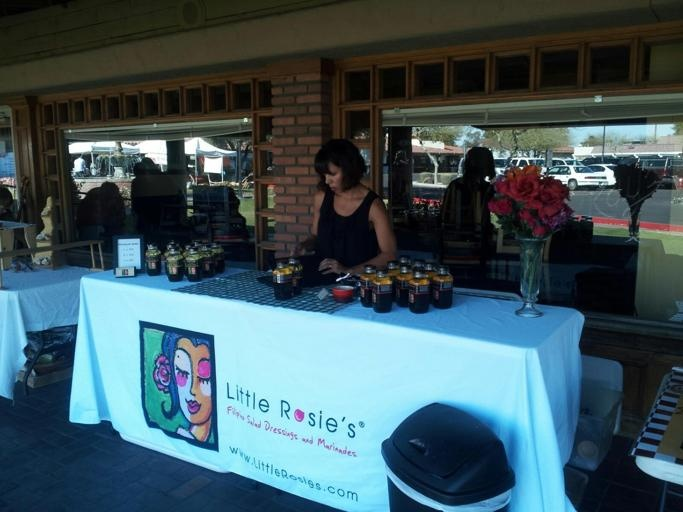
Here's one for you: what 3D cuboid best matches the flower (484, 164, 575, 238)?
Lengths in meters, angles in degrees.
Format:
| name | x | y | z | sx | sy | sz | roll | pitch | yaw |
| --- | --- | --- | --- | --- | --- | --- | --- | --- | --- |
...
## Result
| name | x | y | z | sx | sy | sz | roll | pitch | yaw |
| --- | --- | --- | --- | --- | --- | --- | --- | --- | --- |
| flower | 0.953 | -0.283 | 2.825 | 0.468 | 0.357 | 0.438 | -2 | 3 | 10 |

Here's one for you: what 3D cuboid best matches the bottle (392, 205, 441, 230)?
| name | x | y | z | sx | sy | sz | roll | pitch | yaw |
| --- | --- | --- | --- | --- | --- | --- | --- | --- | --- |
| bottle | 0.868 | -0.441 | 6.070 | 0.422 | 0.096 | 0.387 | -1 | 12 | 0 |

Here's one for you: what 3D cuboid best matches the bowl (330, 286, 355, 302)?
| name | x | y | z | sx | sy | sz | roll | pitch | yaw |
| --- | --- | --- | --- | --- | --- | --- | --- | --- | --- |
| bowl | 0.010 | 0.225 | 3.148 | 0.112 | 0.059 | 0.101 | 11 | 13 | 34 |

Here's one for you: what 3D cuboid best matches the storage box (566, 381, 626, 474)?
| name | x | y | z | sx | sy | sz | roll | pitch | yaw |
| --- | --- | --- | --- | --- | --- | --- | --- | --- | --- |
| storage box | 1.593 | 1.086 | 3.479 | 0.419 | 0.360 | 0.625 | 4 | 7 | 40 |

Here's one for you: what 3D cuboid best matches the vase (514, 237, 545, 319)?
| name | x | y | z | sx | sy | sz | roll | pitch | yaw |
| --- | --- | --- | --- | --- | --- | --- | --- | --- | --- |
| vase | 1.055 | 0.101 | 2.927 | 0.139 | 0.441 | 0.223 | 1 | 10 | 20 |

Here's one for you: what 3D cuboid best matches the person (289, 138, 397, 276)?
| name | x | y | z | sx | sy | sz | roll | pitch | yaw |
| --- | --- | --- | --- | --- | --- | --- | --- | --- | --- |
| person | 0.005 | -0.352 | 3.586 | 0.716 | 0.892 | 0.681 | 1 | 10 | 19 |
